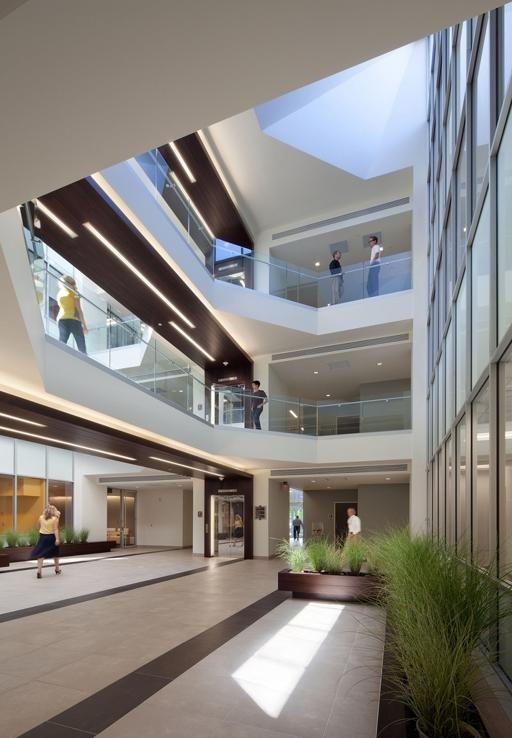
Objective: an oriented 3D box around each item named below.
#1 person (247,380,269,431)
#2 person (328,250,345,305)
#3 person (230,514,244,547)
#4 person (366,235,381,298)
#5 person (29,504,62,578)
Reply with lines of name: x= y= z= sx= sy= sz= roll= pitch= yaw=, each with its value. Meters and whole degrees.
person: x=0.030 y=1.139 z=14.066 sx=0.635 sy=1.144 sz=0.254 roll=14 pitch=-18 yaw=-43
person: x=2.481 y=-2.883 z=15.548 sx=0.419 sy=2.127 sz=1.077 roll=-2 pitch=-14 yaw=10
person: x=-0.599 y=5.082 z=15.935 sx=0.393 sy=1.002 sz=0.181 roll=-4 pitch=-14 yaw=20
person: x=3.402 y=-3.044 z=14.588 sx=0.419 sy=1.979 sz=0.891 roll=-1 pitch=-14 yaw=6
person: x=-4.689 y=3.869 z=11.430 sx=0.605 sy=1.482 sz=1.818 roll=6 pitch=-16 yaw=-21
